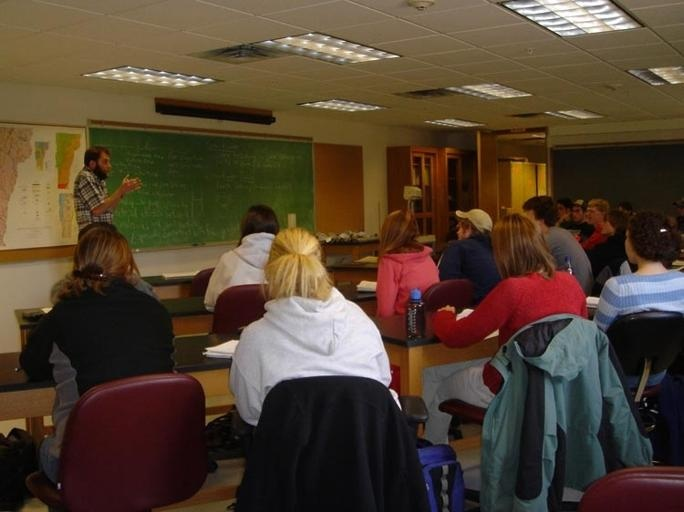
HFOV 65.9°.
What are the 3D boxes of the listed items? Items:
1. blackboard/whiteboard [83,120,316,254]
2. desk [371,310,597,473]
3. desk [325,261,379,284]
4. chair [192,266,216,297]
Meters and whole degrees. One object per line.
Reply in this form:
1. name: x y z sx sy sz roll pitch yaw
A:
1. blackboard/whiteboard: -1.801 -0.874 6.275 2.207 1.034 0.077 -2 0 -42
2. desk: 0.529 0.518 2.571 0.906 0.818 0.644 -5 9 -36
3. desk: 0.119 0.127 5.886 0.331 0.200 0.339 4 6 44
4. chair: -1.165 0.206 4.468 0.259 0.265 0.251 1 0 1
